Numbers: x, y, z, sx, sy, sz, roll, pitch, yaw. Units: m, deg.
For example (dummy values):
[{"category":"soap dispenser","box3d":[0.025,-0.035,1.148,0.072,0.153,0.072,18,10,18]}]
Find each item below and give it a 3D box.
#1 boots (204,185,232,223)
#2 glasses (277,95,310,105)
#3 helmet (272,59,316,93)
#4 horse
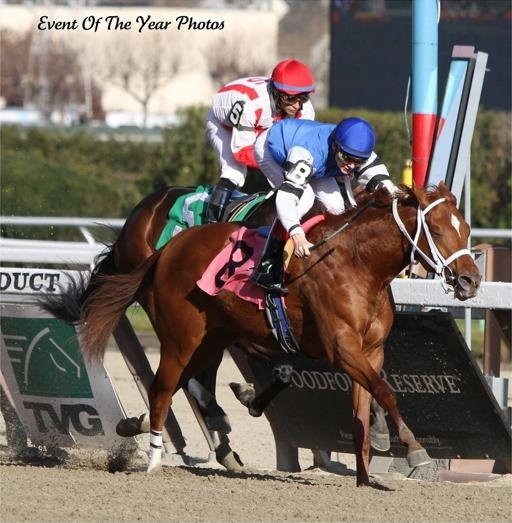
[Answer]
[{"category":"boots","box3d":[-0.198,-0.283,6.751,0.111,0.214,0.074,23,10,40]},{"category":"glasses","box3d":[0.209,-0.813,6.599,0.169,0.056,0.138,-3,14,-18]},{"category":"helmet","box3d":[0.194,-0.919,6.585,0.214,0.174,0.224,2,13,1]},{"category":"horse","box3d":[0.047,0.309,6.205,2.011,1.484,0.747,12,17,37]}]
